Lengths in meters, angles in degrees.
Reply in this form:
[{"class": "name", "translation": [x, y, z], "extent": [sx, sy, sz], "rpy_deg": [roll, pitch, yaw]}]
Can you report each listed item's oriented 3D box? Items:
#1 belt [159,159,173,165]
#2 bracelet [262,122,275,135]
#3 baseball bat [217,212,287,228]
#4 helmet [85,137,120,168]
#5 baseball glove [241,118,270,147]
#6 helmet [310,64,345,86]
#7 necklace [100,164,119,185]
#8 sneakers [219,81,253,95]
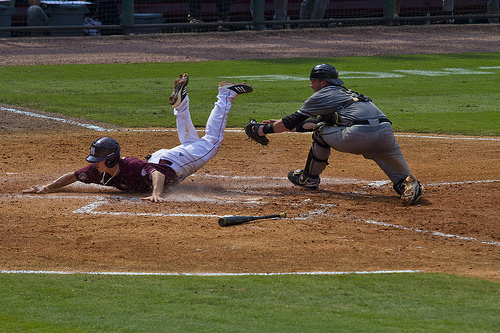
[{"class": "belt", "translation": [-1.565, -0.094, 16.748], "extent": [0.190, 0.051, 0.119], "rpy_deg": [5, -5, 2]}, {"class": "bracelet", "translation": [0.355, -0.735, 17.141], "extent": [0.082, 0.198, 0.181], "rpy_deg": [8, 42, -35]}, {"class": "baseball bat", "translation": [0.046, 0.935, 15.885], "extent": [1.388, 0.152, 0.198], "rpy_deg": [-3, 7, -26]}, {"class": "helmet", "translation": [-2.733, -0.305, 16.700], "extent": [0.527, 0.461, 0.719], "rpy_deg": [25, 30, 38]}, {"class": "baseball glove", "translation": [0.106, -0.676, 17.377], "extent": [0.783, 0.301, 0.254], "rpy_deg": [30, 15, -1]}, {"class": "helmet", "translation": [1.458, -1.795, 17.160], "extent": [0.757, 0.302, 0.479], "rpy_deg": [5, 17, 4]}, {"class": "necklace", "translation": [-2.623, 0.149, 16.709], "extent": [0.098, 0.402, 0.285], "rpy_deg": [51, -5, -39]}, {"class": "sneakers", "translation": [-0.280, -1.572, 17.745], "extent": [0.758, 0.241, 0.239], "rpy_deg": [12, 4, -5]}]
